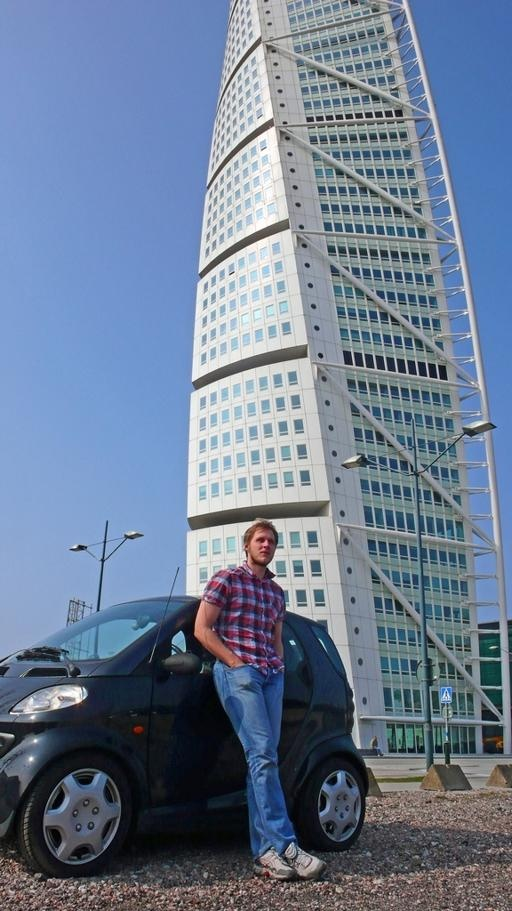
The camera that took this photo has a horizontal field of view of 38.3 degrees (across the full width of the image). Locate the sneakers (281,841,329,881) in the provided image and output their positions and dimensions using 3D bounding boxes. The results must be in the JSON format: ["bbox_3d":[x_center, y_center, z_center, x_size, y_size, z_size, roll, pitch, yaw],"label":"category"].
[{"bbox_3d":[0.242,1.987,3.672,0.121,0.096,0.259,40,-16,-11],"label":"sneakers"}]

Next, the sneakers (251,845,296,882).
[{"bbox_3d":[0.092,2.040,3.670,0.106,0.114,0.263,30,-36,-24],"label":"sneakers"}]
